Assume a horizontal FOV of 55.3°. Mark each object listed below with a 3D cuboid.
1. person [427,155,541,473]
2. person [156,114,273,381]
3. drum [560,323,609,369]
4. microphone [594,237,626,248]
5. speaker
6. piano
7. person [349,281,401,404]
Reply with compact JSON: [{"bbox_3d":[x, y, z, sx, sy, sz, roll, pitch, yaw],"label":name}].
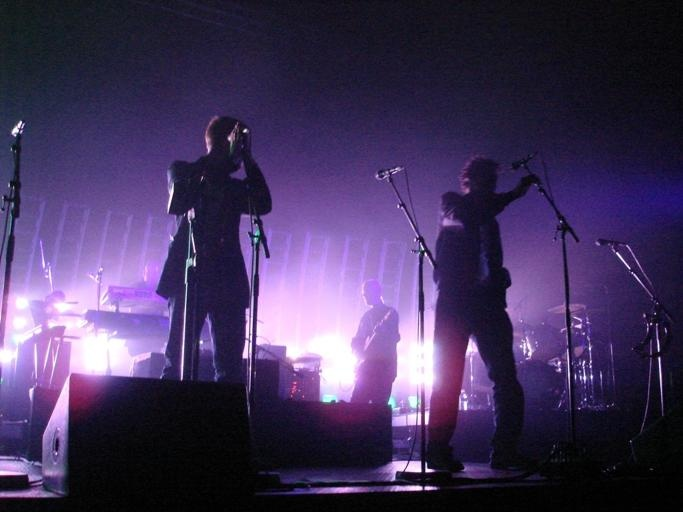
[{"bbox_3d":[1.284,0.651,6.312,0.975,2.710,0.478,-2,-12,7],"label":"person"},{"bbox_3d":[-1.184,-0.127,6.117,1.012,2.550,0.758,2,-12,-10],"label":"person"},{"bbox_3d":[4.031,1.439,10.523,0.565,0.762,1.019,0,0,27],"label":"drum"},{"bbox_3d":[3.933,-0.222,9.525,0.455,0.153,0.121,7,-1,-28],"label":"microphone"},{"bbox_3d":[-1.542,1.487,5.247,1.402,0.910,1.364,10,-21,-26],"label":"speaker"},{"bbox_3d":[-3.153,0.794,10.325,1.680,0.889,1.783,2,-1,-20],"label":"piano"},{"bbox_3d":[0.477,1.154,9.243,0.677,1.753,0.459,0,-12,1],"label":"person"}]
